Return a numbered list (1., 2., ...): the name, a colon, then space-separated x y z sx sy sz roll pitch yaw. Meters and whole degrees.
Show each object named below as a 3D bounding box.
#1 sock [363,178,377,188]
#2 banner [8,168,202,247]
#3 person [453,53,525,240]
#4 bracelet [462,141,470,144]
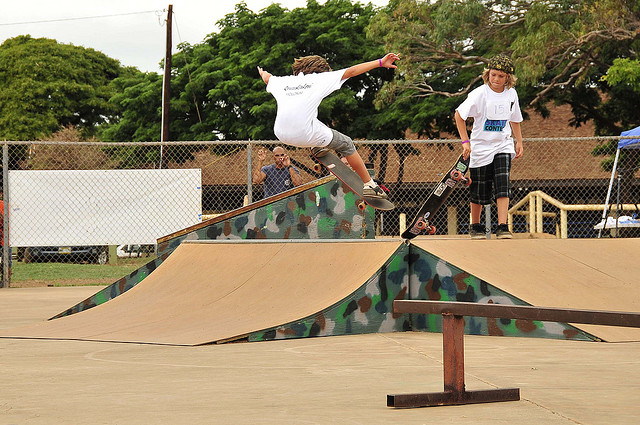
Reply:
1. sock: 0.850 -0.519 16.217 0.175 0.216 0.519 1 2 25
2. banner: -4.561 -0.109 19.157 3.751 1.702 0.475 3 9 -9
3. person: 2.893 -1.133 15.855 1.095 3.109 0.727 6 9 12
4. bracelet: 2.472 -1.190 15.751 0.112 0.052 0.111 5 9 2
